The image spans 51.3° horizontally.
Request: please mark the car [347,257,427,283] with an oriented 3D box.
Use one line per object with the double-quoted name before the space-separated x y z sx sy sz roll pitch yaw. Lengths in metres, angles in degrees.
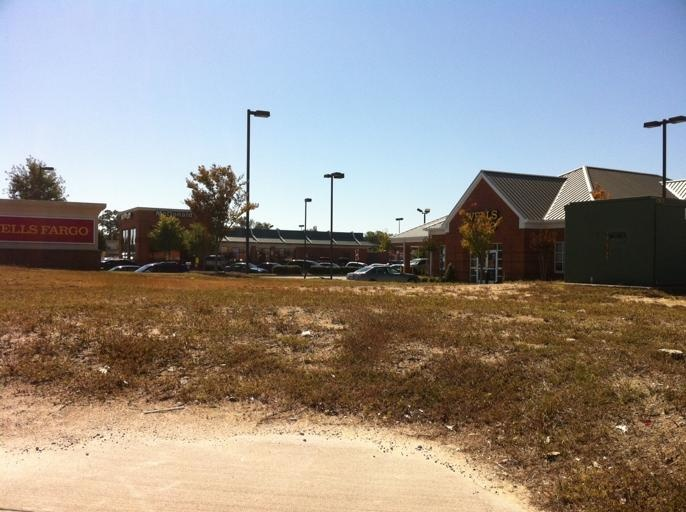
"car" 2.398 1.102 43.572 3.976 0.848 1.725 3 -1 -18
